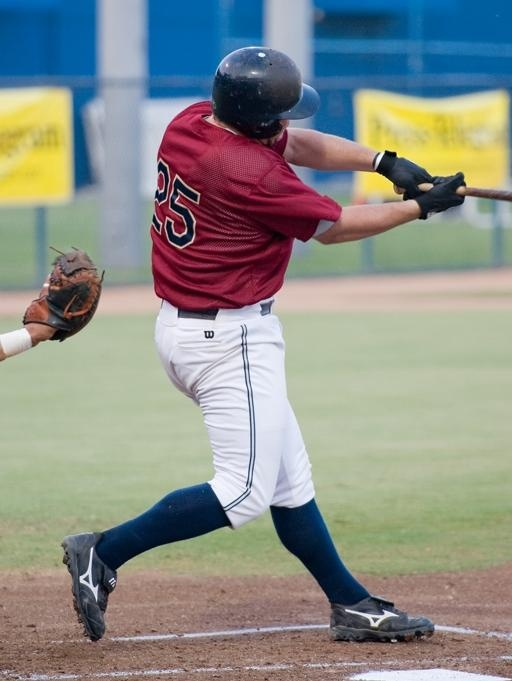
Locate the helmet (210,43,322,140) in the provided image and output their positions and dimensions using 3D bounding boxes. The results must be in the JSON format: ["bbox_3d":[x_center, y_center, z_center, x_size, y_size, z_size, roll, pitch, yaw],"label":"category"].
[{"bbox_3d":[0.013,-0.673,3.090,0.273,0.246,0.193,-4,15,-13],"label":"helmet"}]

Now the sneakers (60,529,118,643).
[{"bbox_3d":[-0.454,0.678,3.161,0.187,0.297,0.113,-12,-8,-8],"label":"sneakers"}]

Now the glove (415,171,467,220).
[{"bbox_3d":[0.532,-0.420,3.321,0.198,0.101,0.079,-27,-1,-29],"label":"glove"}]

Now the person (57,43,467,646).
[{"bbox_3d":[0.101,0.026,3.223,0.845,1.692,1.195,9,18,33],"label":"person"}]

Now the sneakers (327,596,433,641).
[{"bbox_3d":[0.343,0.814,3.323,0.343,0.118,0.116,-1,-6,0],"label":"sneakers"}]

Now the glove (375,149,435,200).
[{"bbox_3d":[0.451,-0.533,3.529,0.222,0.068,0.126,26,-5,5],"label":"glove"}]
